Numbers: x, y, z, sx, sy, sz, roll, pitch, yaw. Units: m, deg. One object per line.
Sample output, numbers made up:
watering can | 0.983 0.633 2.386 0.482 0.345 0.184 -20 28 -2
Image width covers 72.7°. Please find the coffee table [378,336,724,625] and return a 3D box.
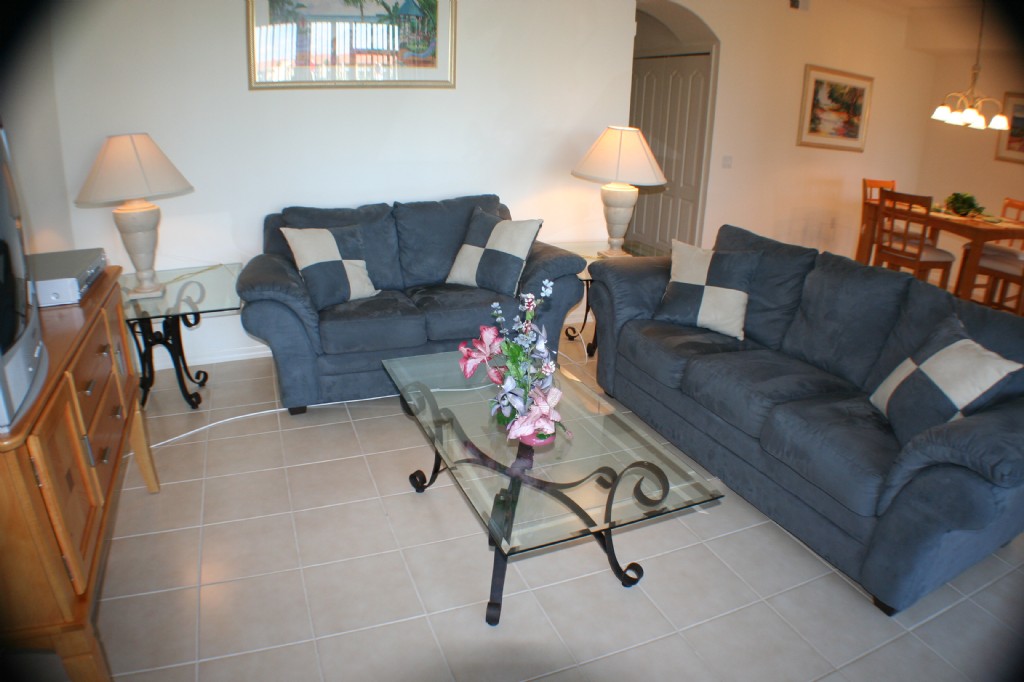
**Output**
coffee table | 0.071 0.795 3.243 0.850 0.479 1.341 -7 15 -24

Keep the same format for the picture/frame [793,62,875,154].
picture/frame | 3.165 -2.352 6.927 1.045 0.825 0.070 -3 19 -34

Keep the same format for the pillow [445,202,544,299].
pillow | -0.114 -0.599 4.626 0.615 0.554 0.187 15 -4 44

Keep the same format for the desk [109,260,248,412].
desk | -1.847 -0.010 4.346 0.964 0.566 0.868 -4 20 -14

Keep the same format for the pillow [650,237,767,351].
pillow | 1.172 -0.279 4.205 0.603 0.542 0.186 17 -2 42

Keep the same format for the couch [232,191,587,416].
couch | -0.674 -0.303 4.657 2.076 1.101 0.909 -7 29 -21

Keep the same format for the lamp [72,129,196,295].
lamp | -2.216 -0.759 4.139 0.598 0.891 0.283 -14 26 -29
